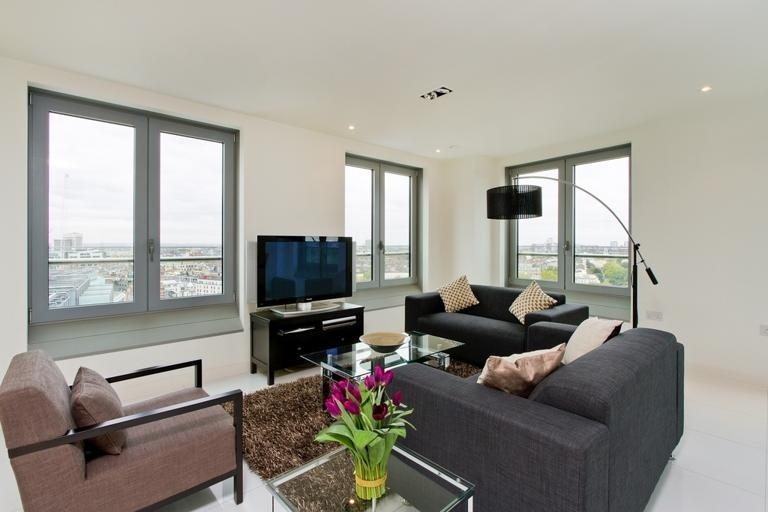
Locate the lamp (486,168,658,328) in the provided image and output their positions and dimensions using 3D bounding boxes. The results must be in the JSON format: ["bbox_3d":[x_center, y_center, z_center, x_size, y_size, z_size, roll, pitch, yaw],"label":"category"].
[{"bbox_3d":[2.293,-0.197,6.226,2.104,1.938,2.336,-1,2,34],"label":"lamp"}]

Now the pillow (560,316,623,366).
[{"bbox_3d":[1.678,0.703,4.154,0.273,0.439,0.474,16,2,-3],"label":"pillow"}]

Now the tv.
[{"bbox_3d":[-1.010,0.231,5.943,1.031,0.673,0.044,1,-3,-38],"label":"tv"}]

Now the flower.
[{"bbox_3d":[-0.155,1.176,3.239,0.567,0.871,0.212,-2,2,-10],"label":"flower"}]

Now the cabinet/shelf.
[{"bbox_3d":[-0.923,0.998,6.031,0.546,0.687,1.379,7,8,43],"label":"cabinet/shelf"}]
